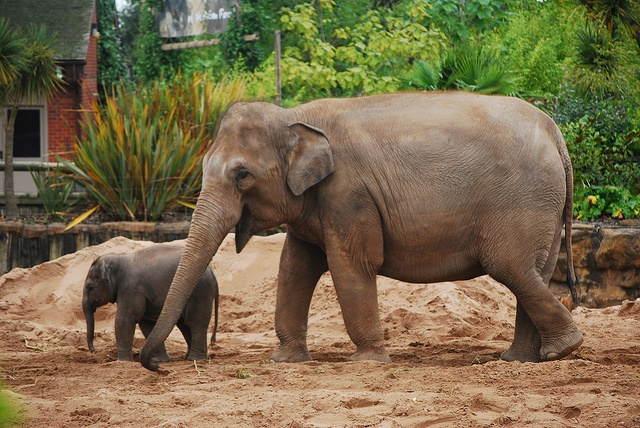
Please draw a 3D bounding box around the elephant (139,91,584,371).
[{"bbox_3d":[1.163,0.247,16.609,7.250,4.871,2.990,0,-6,-1],"label":"elephant"}]
